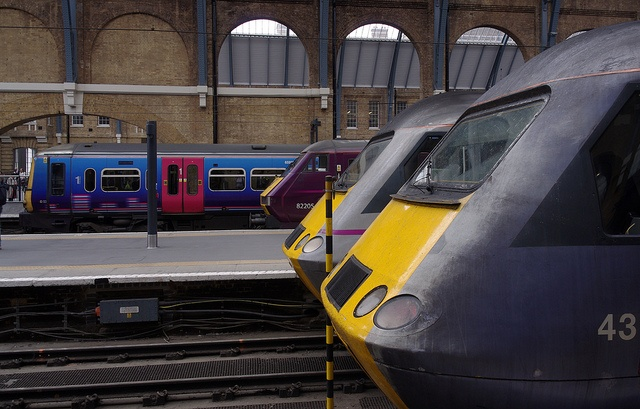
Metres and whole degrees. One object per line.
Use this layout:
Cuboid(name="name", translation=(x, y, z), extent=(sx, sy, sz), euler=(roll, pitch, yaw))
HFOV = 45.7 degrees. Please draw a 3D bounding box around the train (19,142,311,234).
Cuboid(name="train", translation=(-5.010, -0.503, 28.387), extent=(11.390, 2.841, 2.015), euler=(-2, -4, -10))
